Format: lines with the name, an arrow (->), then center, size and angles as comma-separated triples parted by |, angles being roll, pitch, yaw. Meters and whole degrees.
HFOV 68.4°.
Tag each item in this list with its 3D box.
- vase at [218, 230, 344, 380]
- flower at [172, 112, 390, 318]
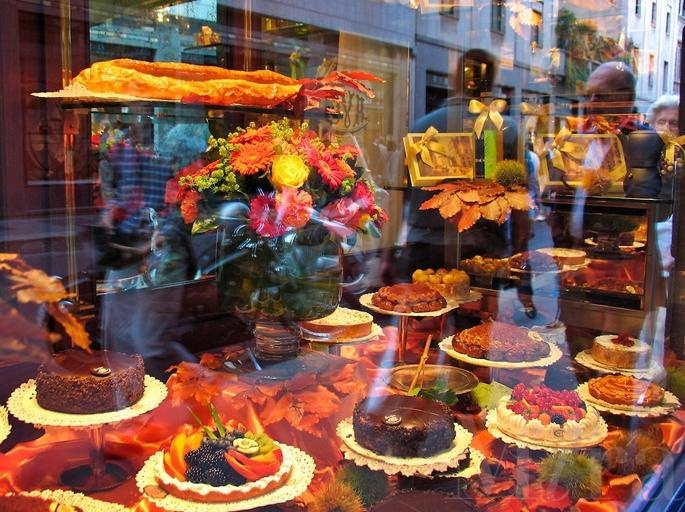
vase -> -0.185, 0.118, 1.542 | 0.400, 0.418, 0.397 | 3, 0, -3
flower -> -0.174, -0.087, 1.521 | 0.563, 0.499, 0.543 | 5, 7, 31
